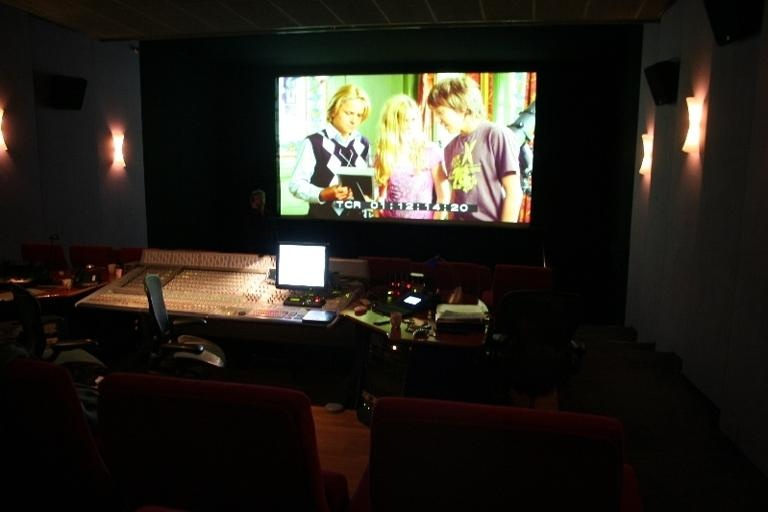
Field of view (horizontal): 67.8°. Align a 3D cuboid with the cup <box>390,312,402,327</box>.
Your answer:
[{"bbox_3d":[0.105,0.512,4.634,0.092,0.108,0.094,1,-2,0],"label":"cup"}]

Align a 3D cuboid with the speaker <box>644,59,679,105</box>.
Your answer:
[{"bbox_3d":[2.937,-1.848,6.041,0.328,0.467,0.200,5,9,25],"label":"speaker"}]
